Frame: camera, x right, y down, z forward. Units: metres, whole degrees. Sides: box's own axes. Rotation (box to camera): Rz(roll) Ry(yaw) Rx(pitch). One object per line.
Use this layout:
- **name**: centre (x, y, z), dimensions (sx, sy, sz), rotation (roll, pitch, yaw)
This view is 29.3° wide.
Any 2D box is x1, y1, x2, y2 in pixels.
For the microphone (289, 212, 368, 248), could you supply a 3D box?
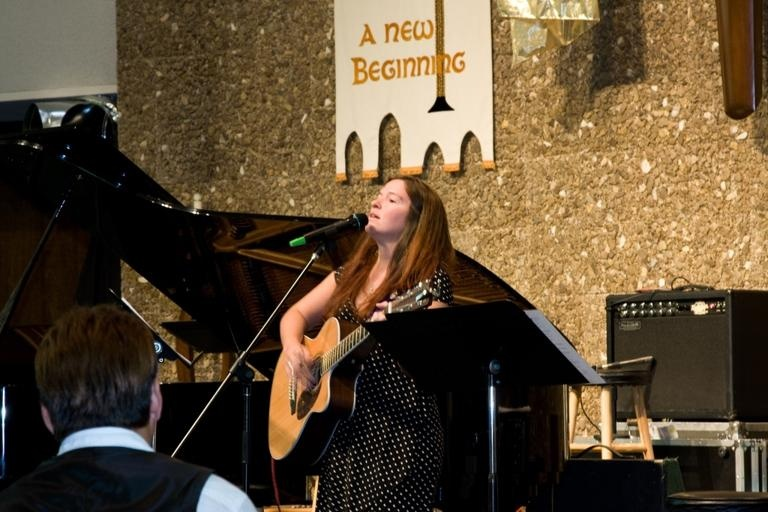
- **microphone**: centre (-0.313, -0.137, 8.238), dimensions (0.353, 0.103, 0.102), rotation (-25, -44, 1)

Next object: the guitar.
- **guitar**: centre (-0.138, 0.516, 7.747), dimensions (0.190, 0.747, 1.382), rotation (27, -45, -15)

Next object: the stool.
- **stool**: centre (1.450, 1.008, 8.940), dimensions (0.378, 0.567, 0.377), rotation (-2, -6, 6)
